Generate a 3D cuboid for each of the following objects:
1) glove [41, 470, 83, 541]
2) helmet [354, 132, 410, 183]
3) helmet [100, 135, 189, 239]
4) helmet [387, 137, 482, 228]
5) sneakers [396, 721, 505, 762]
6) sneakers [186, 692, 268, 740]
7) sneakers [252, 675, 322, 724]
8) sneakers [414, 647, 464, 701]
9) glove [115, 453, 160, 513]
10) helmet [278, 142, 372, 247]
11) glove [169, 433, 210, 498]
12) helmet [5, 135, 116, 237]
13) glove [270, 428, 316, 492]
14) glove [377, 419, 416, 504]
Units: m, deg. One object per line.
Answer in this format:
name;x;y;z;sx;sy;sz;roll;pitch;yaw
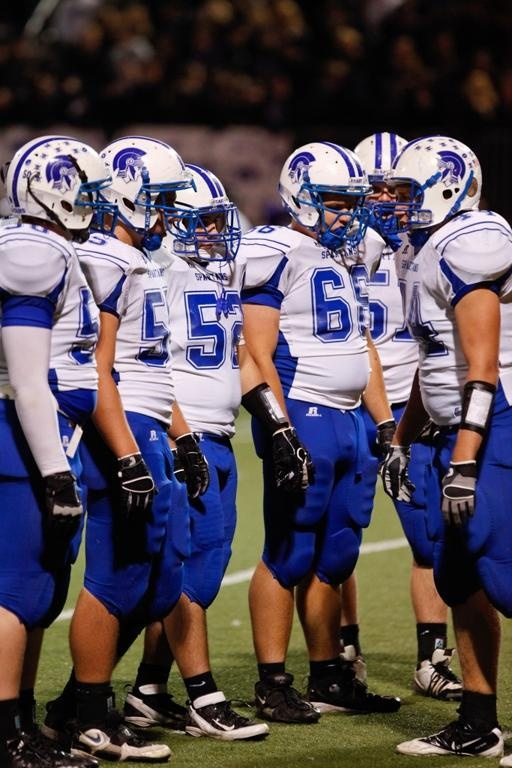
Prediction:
glove;-0.486;0.300;2.268;0.071;0.142;0.152;-33;-31;20
helmet;0.590;-1.037;4.253;0.294;0.282;0.355;2;20;4
helmet;-0.327;-0.667;3.031;0.333;0.277;0.281;17;26;35
helmet;0.598;-0.672;3.012;0.343;0.262;0.237;-5;19;-2
sneakers;0.575;1.046;2.732;0.321;0.100;0.116;2;-14;8
sneakers;-0.102;1.067;2.949;0.318;0.135;0.123;-9;-13;38
sneakers;0.097;1.081;3.164;0.132;0.148;0.341;8;-15;-33
sneakers;0.729;1.140;3.594;0.110;0.185;0.299;13;-13;-23
glove;-0.335;0.291;2.592;0.095;0.207;0.140;-6;17;-7
helmet;0.249;-0.723;3.473;0.314;0.345;0.388;-5;22;-39
glove;-0.217;0.271;3.032;0.082;0.182;0.149;-19;-15;12
helmet;-0.527;-0.534;2.424;0.333;0.231;0.223;-2;14;-22
glove;0.113;0.262;3.138;0.086;0.195;0.167;-19;-17;37
glove;0.549;0.293;3.456;0.180;0.262;0.105;23;38;27
